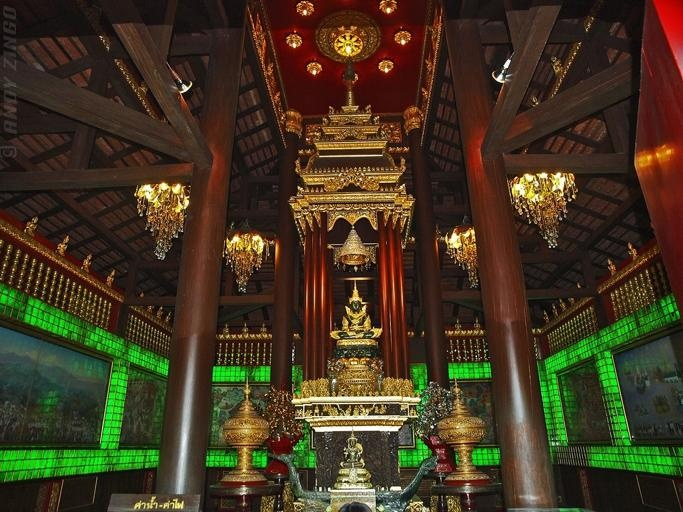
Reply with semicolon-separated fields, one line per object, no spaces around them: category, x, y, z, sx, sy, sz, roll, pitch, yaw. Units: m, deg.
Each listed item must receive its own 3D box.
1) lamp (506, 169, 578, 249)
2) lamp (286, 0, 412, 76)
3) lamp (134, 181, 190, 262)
lamp;2.739;-0.849;5.809;0.883;1.483;0.897;-3;6;34
lamp;0.117;-3.513;6.817;1.404;0.716;1.442;-1;-32;5
lamp;-2.527;-0.509;5.926;0.618;0.988;0.634;2;-38;-5
